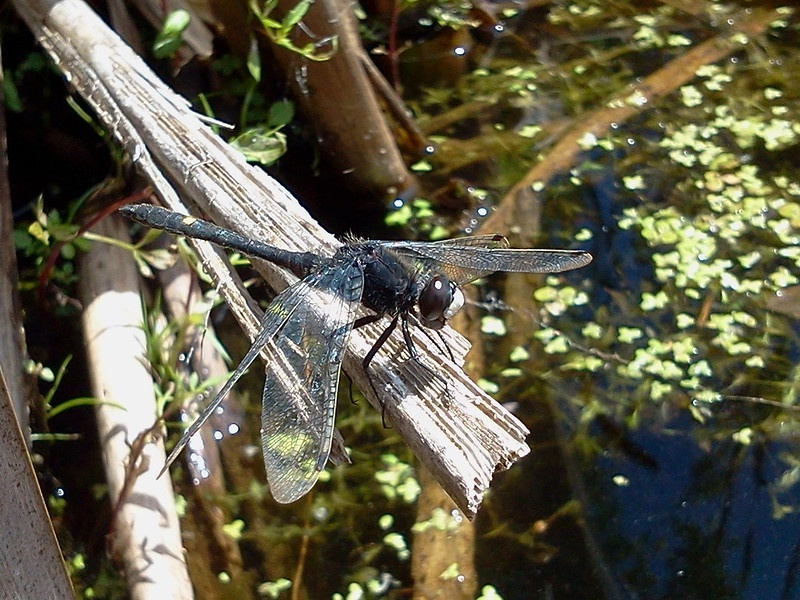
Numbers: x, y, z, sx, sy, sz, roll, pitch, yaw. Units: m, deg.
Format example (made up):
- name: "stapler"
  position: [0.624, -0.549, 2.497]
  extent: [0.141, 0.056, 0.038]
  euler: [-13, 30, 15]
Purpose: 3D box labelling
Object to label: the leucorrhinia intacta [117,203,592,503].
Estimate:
- name: "leucorrhinia intacta"
  position: [-0.295, 0.326, 3.904]
  extent: [0.916, 1.035, 1.844]
  euler: [29, 18, 36]
